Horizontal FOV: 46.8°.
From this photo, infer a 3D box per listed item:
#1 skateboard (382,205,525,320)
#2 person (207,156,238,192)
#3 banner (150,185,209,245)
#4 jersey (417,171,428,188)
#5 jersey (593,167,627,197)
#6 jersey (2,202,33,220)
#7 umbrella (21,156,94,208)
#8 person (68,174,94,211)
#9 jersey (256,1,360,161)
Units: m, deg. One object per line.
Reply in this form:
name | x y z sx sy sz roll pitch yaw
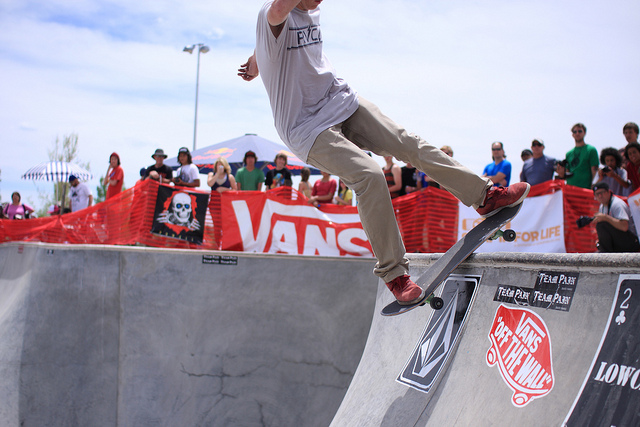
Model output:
skateboard | 1.786 0.651 9.587 0.231 1.632 0.391 38 3 -16
person | -1.809 -0.739 13.983 0.541 0.594 0.958 6 1 -23
banner | -2.433 0.070 12.566 0.784 0.935 0.048 10 -25 -9
jersey | 1.812 -0.588 13.010 0.093 0.104 0.342 4 40 -25
jersey | 4.902 -0.501 12.234 0.169 0.510 0.459 -8 2 -42
jersey | -7.205 -0.066 17.436 0.593 0.301 0.596 7 1 -9
umbrella | -6.362 -0.778 17.304 1.253 0.905 1.367 1 9 -12
person | -4.759 -0.407 14.653 0.223 0.365 0.834 26 0 -26
jersey | -0.192 -1.533 8.698 1.011 2.094 1.917 -16 5 3
